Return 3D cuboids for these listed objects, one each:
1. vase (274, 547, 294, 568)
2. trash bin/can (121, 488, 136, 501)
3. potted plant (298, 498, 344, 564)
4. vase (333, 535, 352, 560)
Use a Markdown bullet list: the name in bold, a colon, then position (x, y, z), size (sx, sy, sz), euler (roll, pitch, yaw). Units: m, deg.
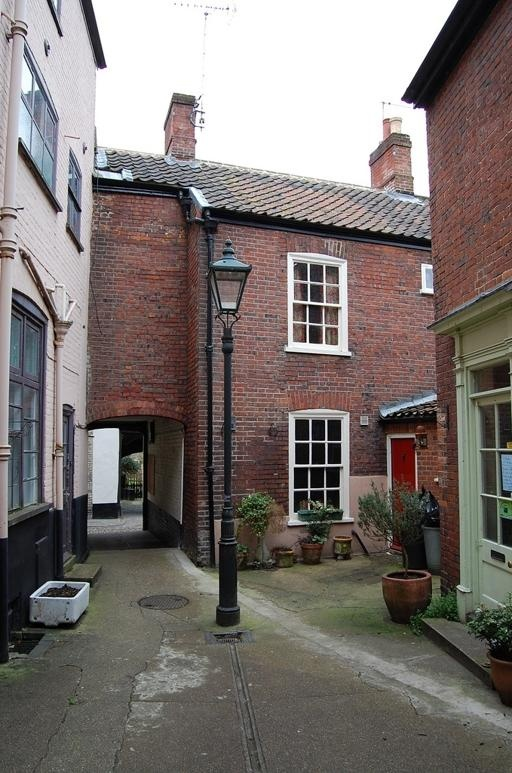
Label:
- **vase**: position (0.453, 2.706, 9.822), size (0.257, 0.220, 0.264), euler (-5, -8, 37)
- **trash bin/can**: position (-5.744, 4.869, 27.914), size (0.719, 0.781, 0.411), euler (-3, -11, 17)
- **potted plant**: position (1.059, 2.410, 10.264), size (0.717, 0.987, 0.417), euler (7, -8, -42)
- **vase**: position (1.458, 2.683, 10.325), size (0.307, 0.361, 0.317), euler (-4, -7, 36)
